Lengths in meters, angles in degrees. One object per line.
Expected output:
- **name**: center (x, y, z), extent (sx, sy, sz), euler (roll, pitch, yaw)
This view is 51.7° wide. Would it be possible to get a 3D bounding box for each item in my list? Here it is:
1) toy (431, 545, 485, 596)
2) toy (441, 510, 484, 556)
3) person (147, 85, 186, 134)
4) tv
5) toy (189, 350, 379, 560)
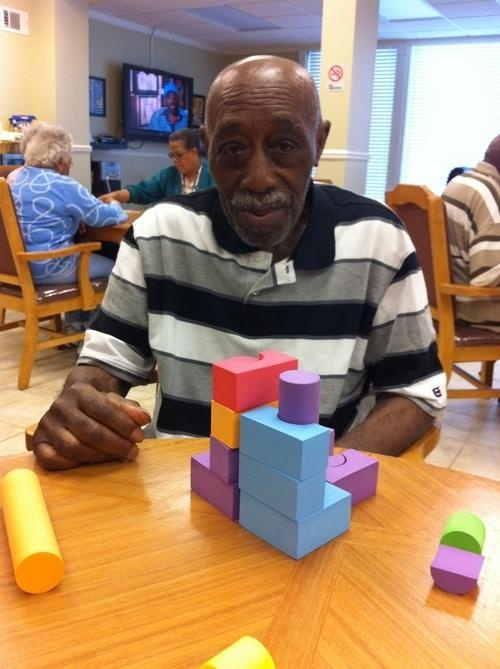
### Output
- **toy**: center (0.182, 0.207, 0.456), extent (0.038, 0.026, 0.053), euler (7, 11, 29)
- **toy**: center (0.199, 0.184, 0.486), extent (0.037, 0.021, 0.035), euler (4, 19, 25)
- **person**: center (-1.150, -3.330, 7.623), extent (0.790, 0.626, 0.357), euler (-2, 27, -9)
- **tv**: center (-1.325, -3.291, 7.399), extent (0.149, 0.990, 1.672), euler (14, 23, 24)
- **toy**: center (0.047, 0.104, 0.596), extent (0.194, 0.171, 0.189), euler (-8, 19, -40)
